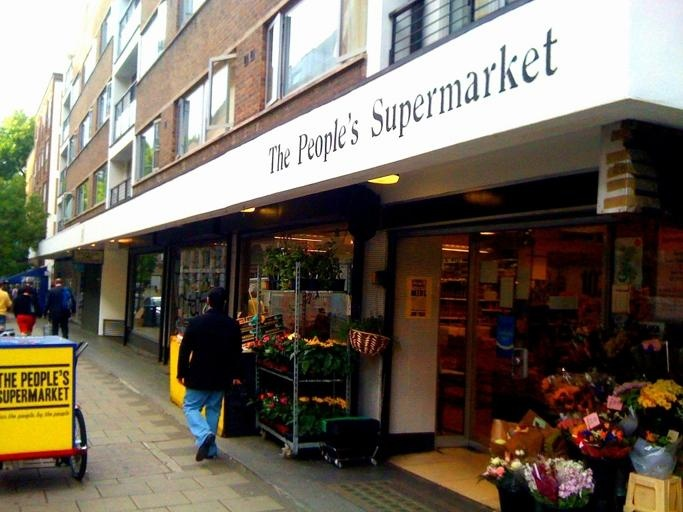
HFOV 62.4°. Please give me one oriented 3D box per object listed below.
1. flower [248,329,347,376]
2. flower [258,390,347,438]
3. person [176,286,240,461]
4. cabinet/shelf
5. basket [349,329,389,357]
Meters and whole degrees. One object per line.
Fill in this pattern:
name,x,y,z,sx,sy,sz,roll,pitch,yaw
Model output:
flower,-0.571,1.241,7.091,1.304,0.521,0.648,-1,-4,42
flower,-0.601,1.955,7.055,1.158,0.497,0.655,-1,-3,35
person,-1.522,1.372,6.501,0.712,1.999,0.462,2,-3,-15
cabinet/shelf,-0.141,1.238,7.170,0.665,1.912,1.617,18,12,35
basket,0.320,0.991,6.543,0.463,0.267,0.150,1,-3,1
